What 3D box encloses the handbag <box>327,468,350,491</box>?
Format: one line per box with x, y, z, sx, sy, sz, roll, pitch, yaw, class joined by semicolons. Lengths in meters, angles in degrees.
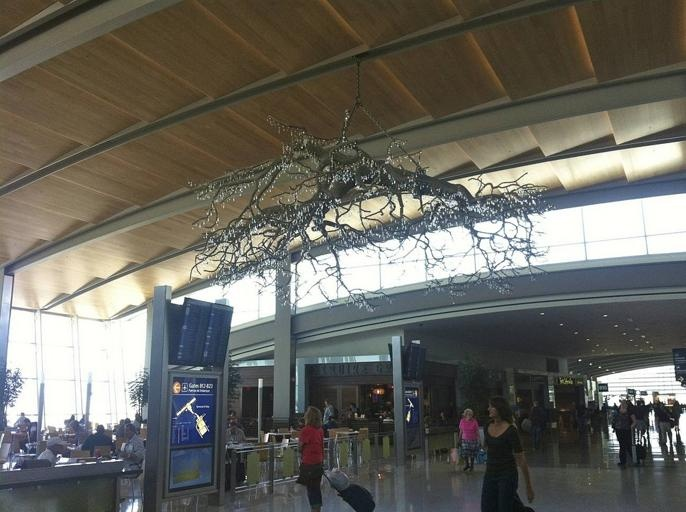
-0.087;3.940;8.561;0.444;0.352;0.256;0;-17;-10;handbag
